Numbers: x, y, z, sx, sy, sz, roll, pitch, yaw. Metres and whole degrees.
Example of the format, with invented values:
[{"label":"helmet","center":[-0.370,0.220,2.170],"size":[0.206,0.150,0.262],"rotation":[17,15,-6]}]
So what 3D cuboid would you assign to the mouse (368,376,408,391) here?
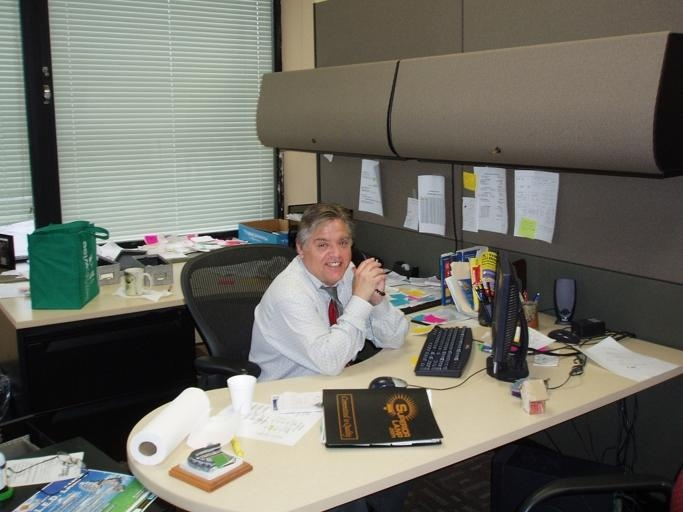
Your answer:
[{"label":"mouse","center":[0.155,0.408,1.600],"size":[0.088,0.028,0.052],"rotation":[-4,9,-17]}]

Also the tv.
[{"label":"tv","center":[0.601,0.236,1.778],"size":[0.163,0.413,0.356],"rotation":[0,17,8]}]

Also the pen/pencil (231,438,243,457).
[{"label":"pen/pencil","center":[-0.281,0.516,1.312],"size":[0.019,0.017,0.065],"rotation":[-29,17,-7]}]

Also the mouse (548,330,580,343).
[{"label":"mouse","center":[0.912,0.322,1.977],"size":[0.070,0.017,0.049],"rotation":[-10,17,-36]}]

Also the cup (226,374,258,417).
[{"label":"cup","center":[-0.291,0.404,1.461],"size":[0.111,0.119,0.111],"rotation":[-1,1,0]}]

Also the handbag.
[{"label":"handbag","center":[-1.261,0.006,2.486],"size":[0.385,0.472,0.491],"rotation":[0,8,-2]}]

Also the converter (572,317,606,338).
[{"label":"converter","center":[1.006,0.288,1.986],"size":[0.128,0.068,0.061],"rotation":[-1,1,-12]}]

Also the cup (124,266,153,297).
[{"label":"cup","center":[-1.037,0.136,2.519],"size":[0.171,0.140,0.107],"rotation":[7,5,6]}]

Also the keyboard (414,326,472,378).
[{"label":"keyboard","center":[0.407,0.363,1.855],"size":[0.184,0.048,0.356],"rotation":[-1,15,20]}]
